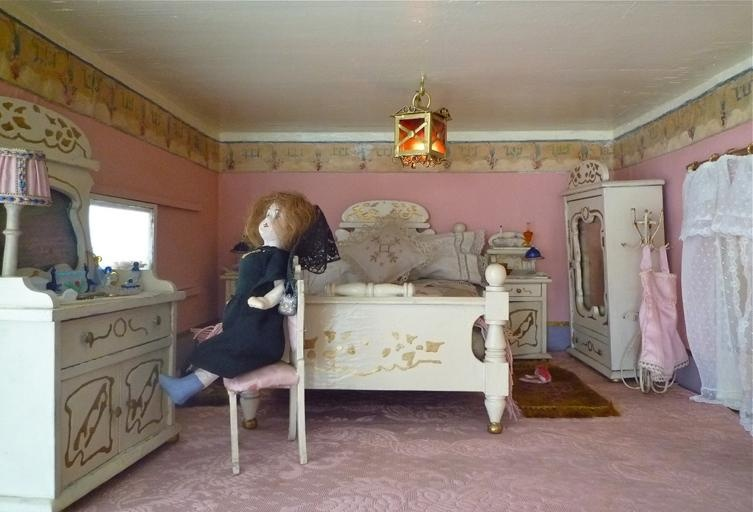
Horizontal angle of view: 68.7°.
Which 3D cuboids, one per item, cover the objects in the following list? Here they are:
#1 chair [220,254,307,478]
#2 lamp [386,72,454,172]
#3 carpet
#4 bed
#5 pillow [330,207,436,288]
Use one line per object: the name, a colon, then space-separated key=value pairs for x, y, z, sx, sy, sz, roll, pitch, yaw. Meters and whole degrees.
chair: x=-0.808 y=0.762 z=3.984 sx=0.572 sy=1.354 sz=0.676 roll=-4 pitch=14 yaw=-14
lamp: x=0.333 y=-0.982 z=4.112 sx=0.403 sy=0.668 sz=0.336 roll=0 pitch=14 yaw=2
carpet: x=1.652 y=1.245 z=5.107 sx=0.838 sy=0.137 sz=1.262 roll=1 pitch=13 yaw=5
bed: x=0.251 y=0.651 z=4.881 sx=1.392 sy=1.168 sz=1.837 roll=-1 pitch=-4 yaw=1
pillow: x=0.091 y=-0.071 z=5.672 sx=0.783 sy=0.435 sz=1.024 roll=1 pitch=24 yaw=0
